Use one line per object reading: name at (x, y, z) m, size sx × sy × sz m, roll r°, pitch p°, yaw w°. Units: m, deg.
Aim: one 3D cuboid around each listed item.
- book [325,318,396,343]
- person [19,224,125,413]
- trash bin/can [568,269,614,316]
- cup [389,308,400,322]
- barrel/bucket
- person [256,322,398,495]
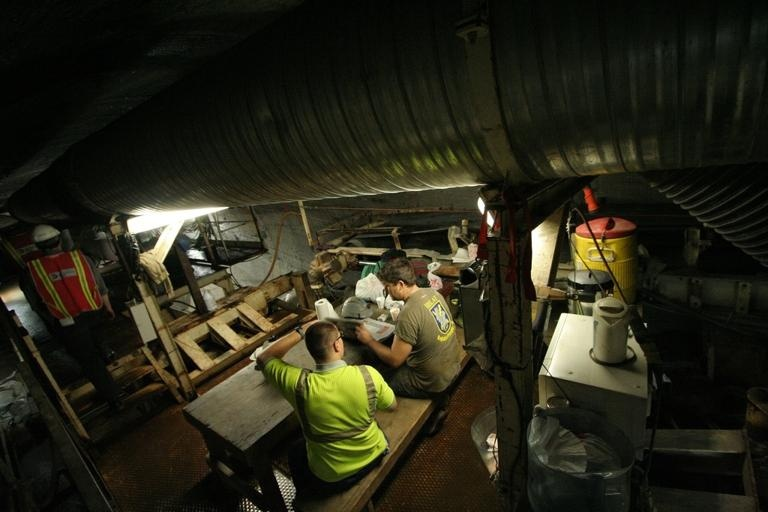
book at (-0.181, 0.680, 4.598) m, size 0.449 × 0.147 × 0.325 m, roll 0°, pitch 9°, yaw 27°
person at (-3.349, 0.722, 5.373) m, size 0.605 × 2.227 × 0.697 m, roll -1°, pitch 14°, yaw 40°
trash bin/can at (2.023, 0.340, 4.780) m, size 0.493 × 0.500 × 0.464 m, roll -5°, pitch 21°, yaw 16°
cup at (0.110, 0.598, 4.981) m, size 0.119 × 0.112 × 0.114 m, roll 0°, pitch 22°, yaw 0°
barrel/bucket at (2.527, 0.055, 5.510) m, size 0.800 × 1.057 × 0.891 m, roll 4°, pitch 21°, yaw 35°
person at (-0.388, 1.143, 3.695) m, size 0.926 × 1.317 × 0.417 m, roll -10°, pitch 10°, yaw -5°
